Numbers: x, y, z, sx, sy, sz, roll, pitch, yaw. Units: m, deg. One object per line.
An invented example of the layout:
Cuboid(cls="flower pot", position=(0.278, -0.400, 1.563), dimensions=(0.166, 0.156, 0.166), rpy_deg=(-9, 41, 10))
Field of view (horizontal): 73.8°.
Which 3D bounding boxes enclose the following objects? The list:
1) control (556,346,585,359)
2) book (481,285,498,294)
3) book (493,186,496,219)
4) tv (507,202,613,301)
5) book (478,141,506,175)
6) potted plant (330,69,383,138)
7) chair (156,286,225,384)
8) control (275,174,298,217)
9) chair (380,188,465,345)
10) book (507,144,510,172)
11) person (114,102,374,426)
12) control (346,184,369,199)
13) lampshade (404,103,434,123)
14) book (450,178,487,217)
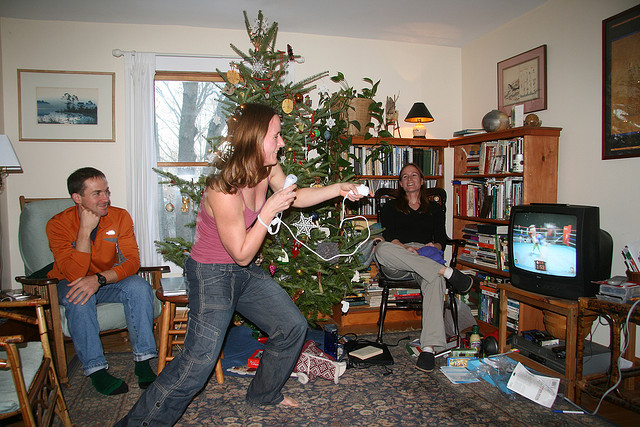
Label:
Cuboid(cls="control", position=(1.967, 1.100, 3.344), dimensions=(0.153, 0.039, 0.146), rpy_deg=(-3, -1, 17))
Cuboid(cls="book", position=(1.727, 0.759, 4.371), dimensions=(0.133, 0.031, 0.129), rpy_deg=(1, 6, -31))
Cuboid(cls="book", position=(1.831, -0.119, 4.479), dimensions=(0.022, 0.322, 0.063), rpy_deg=(0, 7, 14))
Cuboid(cls="tv", position=(2.242, 0.327, 3.768), dimensions=(0.773, 0.780, 0.789), rpy_deg=(0, 1, -13))
Cuboid(cls="book", position=(1.837, -0.631, 4.642), dimensions=(0.178, 0.319, 0.271), rpy_deg=(-8, 21, -13))
Cuboid(cls="potted plant", position=(0.411, -1.309, 5.054), dimensions=(0.409, 0.566, 0.456), rpy_deg=(12, 6, -3))
Cuboid(cls="chair", position=(-1.105, 1.001, 3.566), dimensions=(0.564, 0.715, 0.573), rpy_deg=(-4, 1, -27))
Cuboid(cls="control", position=(-0.234, -0.121, 2.865), dimensions=(0.148, 0.283, 0.248), rpy_deg=(-2, 7, -5))
Cuboid(cls="chair", position=(1.050, 0.487, 4.348), dimensions=(0.782, 1.441, 1.022), rpy_deg=(0, 7, 18))
Cuboid(cls="book", position=(1.892, -0.562, 4.282), dimensions=(0.016, 0.269, 0.049), rpy_deg=(0, 7, 16))
Cuboid(cls="person", position=(-0.630, 0.393, 2.838), dimensions=(1.047, 2.198, 0.390), rpy_deg=(-3, 7, -11))
Cuboid(cls="control", position=(0.261, -0.164, 3.024), dimensions=(0.158, 0.081, 0.171), rpy_deg=(-1, 6, 2))
Cuboid(cls="lampshade", position=(1.199, -1.209, 5.117), dimensions=(0.269, 0.159, 0.263), rpy_deg=(-2, 9, -4))
Cuboid(cls="book", position=(1.687, -0.180, 4.798), dimensions=(0.434, 0.380, 0.232), rpy_deg=(-4, 7, -27))
